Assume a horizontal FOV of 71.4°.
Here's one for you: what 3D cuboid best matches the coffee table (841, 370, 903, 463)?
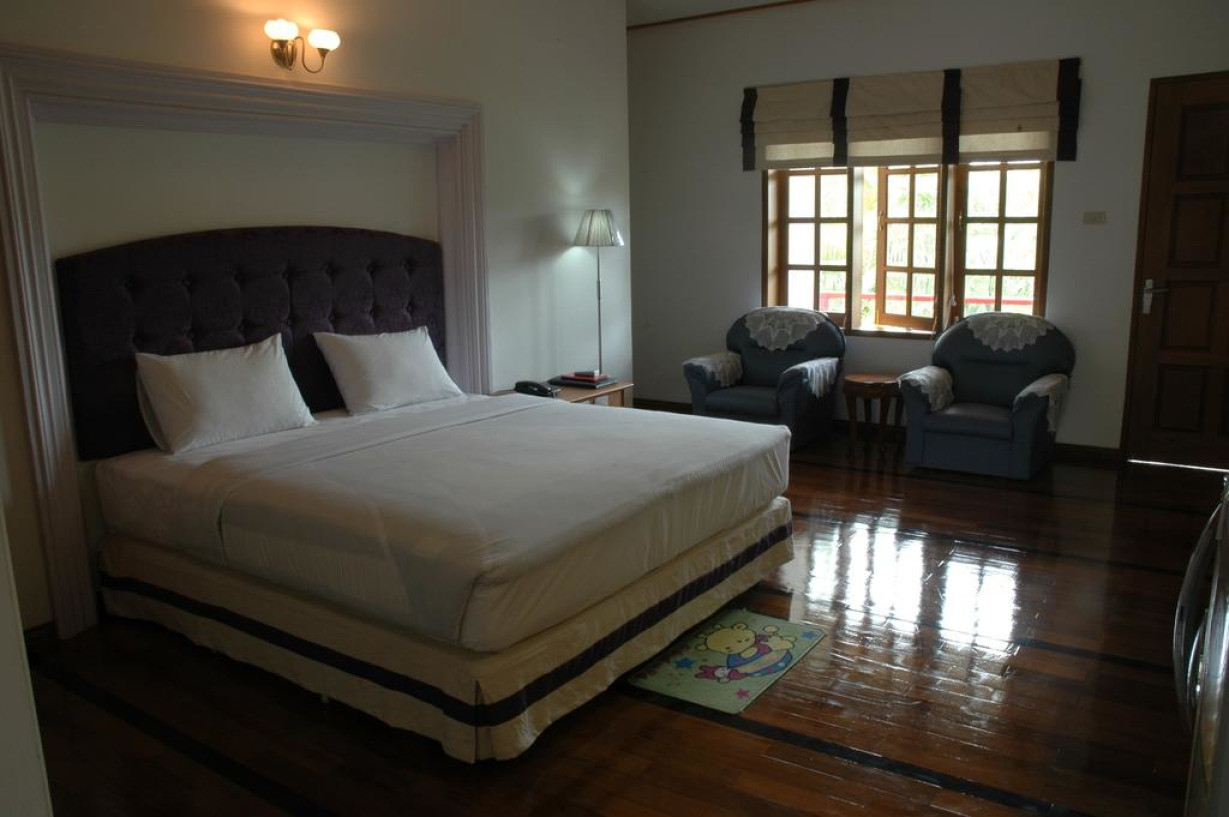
[{"bbox_3d":[2.201,0.053,7.391,0.683,0.772,0.654,-1,7,9],"label":"coffee table"}]

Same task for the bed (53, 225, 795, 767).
[{"bbox_3d":[-1.177,0.481,4.795,3.137,2.053,2.857,5,10,36],"label":"bed"}]

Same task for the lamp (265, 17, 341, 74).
[{"bbox_3d":[-1.851,-2.098,4.997,0.232,0.298,0.434,15,11,29],"label":"lamp"}]

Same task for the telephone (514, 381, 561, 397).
[{"bbox_3d":[-0.555,-0.163,6.216,0.266,0.087,0.146,4,5,29],"label":"telephone"}]

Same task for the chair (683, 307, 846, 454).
[{"bbox_3d":[1.216,-0.361,7.597,1.534,1.391,1.170,5,8,37],"label":"chair"}]
